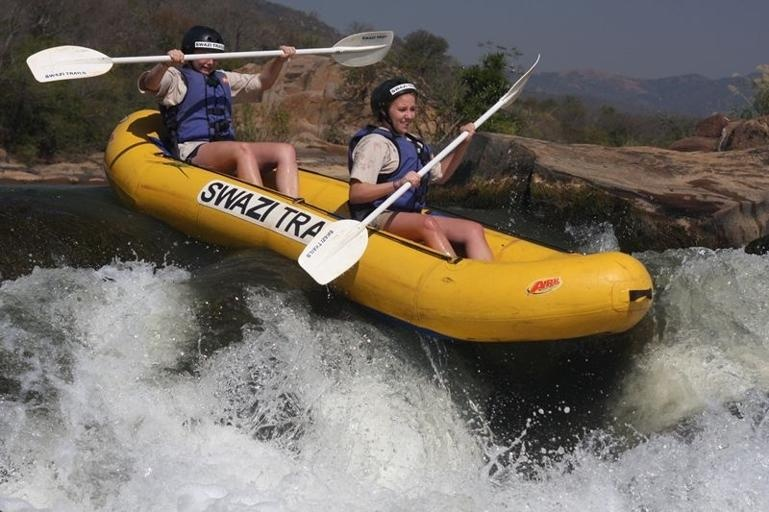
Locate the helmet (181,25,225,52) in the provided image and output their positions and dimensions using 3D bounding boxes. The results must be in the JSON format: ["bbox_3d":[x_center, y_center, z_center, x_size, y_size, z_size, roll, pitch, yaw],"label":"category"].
[{"bbox_3d":[-1.837,-2.177,8.995,0.350,0.273,0.282,6,9,22],"label":"helmet"}]

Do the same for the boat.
[{"bbox_3d":[-0.760,-0.185,8.682,6.413,1.139,1.915,21,20,21],"label":"boat"}]

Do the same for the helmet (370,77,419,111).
[{"bbox_3d":[0.048,-1.527,8.175,0.271,0.365,0.203,24,25,-36],"label":"helmet"}]
